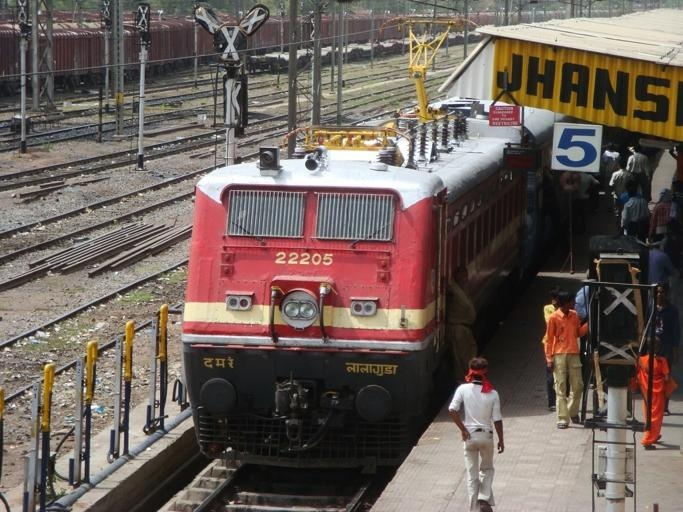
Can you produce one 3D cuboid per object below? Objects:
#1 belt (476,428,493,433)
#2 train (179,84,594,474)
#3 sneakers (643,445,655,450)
[{"bbox_3d":[1.493,1.849,9.196,0.174,0.056,0.030,-5,15,-13],"label":"belt"},{"bbox_3d":[0.721,0.113,12.830,2.795,3.918,6.586,6,17,27],"label":"train"},{"bbox_3d":[3.770,2.365,10.723,0.158,0.051,0.065,-3,-23,-22],"label":"sneakers"}]
